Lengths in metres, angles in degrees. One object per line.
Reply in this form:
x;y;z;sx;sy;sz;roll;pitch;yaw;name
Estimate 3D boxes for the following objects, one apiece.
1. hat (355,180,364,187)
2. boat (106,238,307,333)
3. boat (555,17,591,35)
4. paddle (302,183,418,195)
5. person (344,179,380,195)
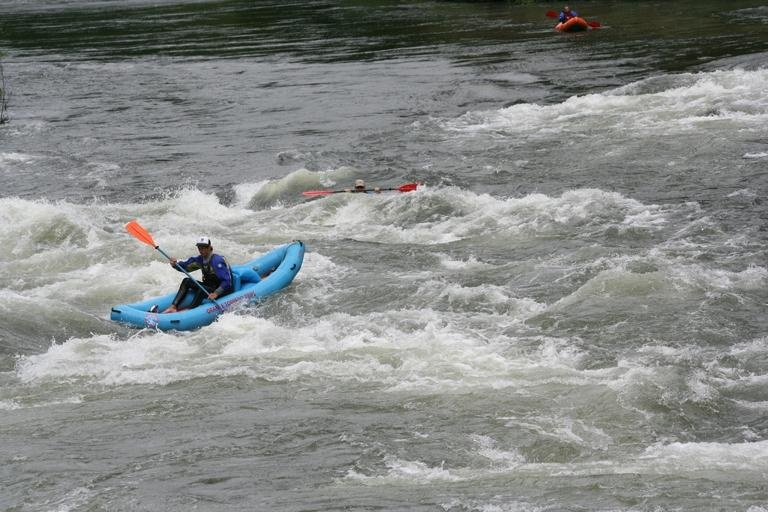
-0.694;-2.049;33.953;0.270;0.302;0.107;1;71;-1;hat
-3.770;0.873;29.044;5.673;0.692;1.820;-13;20;-17;boat
7.799;-9.716;49.820;1.237;0.689;0.730;7;27;22;boat
-0.602;-1.922;34.191;3.655;0.225;0.313;-2;37;7;paddle
-0.637;-1.989;34.346;1.082;0.225;1.021;-1;3;-2;person
